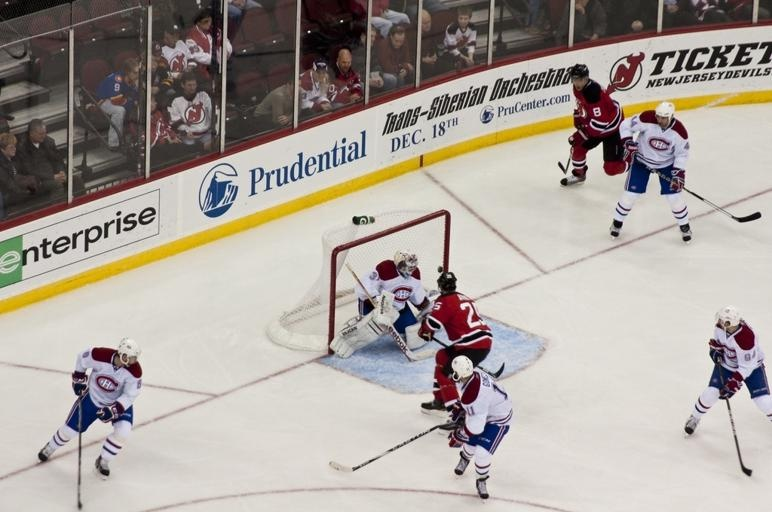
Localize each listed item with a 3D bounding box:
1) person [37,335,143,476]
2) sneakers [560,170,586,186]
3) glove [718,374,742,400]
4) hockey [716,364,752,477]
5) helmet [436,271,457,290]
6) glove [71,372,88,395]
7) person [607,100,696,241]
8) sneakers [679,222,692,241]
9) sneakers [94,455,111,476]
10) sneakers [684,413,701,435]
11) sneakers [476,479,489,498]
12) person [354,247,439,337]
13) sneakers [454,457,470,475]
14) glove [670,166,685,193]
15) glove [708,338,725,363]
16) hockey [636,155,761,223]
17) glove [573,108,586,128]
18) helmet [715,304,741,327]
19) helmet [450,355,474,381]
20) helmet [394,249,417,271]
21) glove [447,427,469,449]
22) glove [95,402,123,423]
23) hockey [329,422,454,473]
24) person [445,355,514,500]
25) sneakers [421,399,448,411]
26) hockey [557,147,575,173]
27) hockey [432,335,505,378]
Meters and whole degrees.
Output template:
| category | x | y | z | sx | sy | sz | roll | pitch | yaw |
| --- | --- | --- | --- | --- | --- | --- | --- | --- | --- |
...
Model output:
| category | x | y | z | sx | sy | sz | roll | pitch | yaw |
| --- | --- | --- | --- | --- | --- | --- | --- | --- | --- |
| person | -3.088 | 1.512 | 13.156 | 0.909 | 1.546 | 0.753 | 17 | 13 | 10 |
| sneakers | 2.613 | -1.098 | 17.399 | 0.467 | 0.199 | 0.150 | -5 | 57 | -5 |
| glove | 3.687 | 1.395 | 13.385 | 0.197 | 0.285 | 0.115 | 37 | 4 | 16 |
| hockey | 3.751 | 1.798 | 13.491 | 0.108 | 1.246 | 0.188 | -10 | -18 | -25 |
| helmet | 0.661 | 0.278 | 13.880 | 0.192 | 0.186 | 0.201 | -1 | 6 | -6 |
| glove | -3.248 | 1.339 | 13.180 | 0.175 | 0.224 | 0.086 | 3 | 6 | 0 |
| person | 3.464 | -1.116 | 16.160 | 1.078 | 1.855 | 1.008 | 1 | 24 | 3 |
| sneakers | 3.897 | -0.303 | 16.247 | 0.105 | 0.266 | 0.122 | -4 | -15 | 17 |
| sneakers | -2.987 | 2.204 | 13.100 | 0.092 | 0.123 | 0.268 | -8 | 16 | -36 |
| sneakers | 3.340 | 1.841 | 13.644 | 0.109 | 0.287 | 0.124 | 16 | -15 | 20 |
| sneakers | 0.983 | 2.409 | 12.921 | 0.086 | 0.236 | 0.171 | -6 | -22 | -2 |
| person | 0.094 | 0.465 | 14.763 | 0.715 | 1.098 | 0.682 | -14 | 46 | -37 |
| sneakers | 0.795 | 2.222 | 13.183 | 0.065 | 0.176 | 0.129 | 23 | -3 | 13 |
| glove | 3.745 | -0.992 | 16.066 | 0.211 | 0.266 | 0.108 | 10 | -26 | 13 |
| glove | 3.574 | 1.030 | 13.428 | 0.095 | 0.217 | 0.170 | 4 | 7 | -26 |
| hockey | 4.170 | -0.869 | 16.831 | 1.773 | 0.195 | 0.235 | 27 | -1 | -12 |
| glove | 2.599 | -1.870 | 16.817 | 0.171 | 0.223 | 0.079 | 0 | 7 | 32 |
| helmet | 3.607 | 0.631 | 13.233 | 0.256 | 0.195 | 0.190 | 16 | 28 | 22 |
| helmet | 0.790 | 1.140 | 12.774 | 0.272 | 0.242 | 0.188 | 19 | 8 | 19 |
| helmet | 0.204 | 0.038 | 14.503 | 0.208 | 0.195 | 0.256 | 9 | -6 | -37 |
| glove | 0.742 | 1.906 | 13.054 | 0.208 | 0.100 | 0.242 | -17 | 9 | -13 |
| glove | -2.903 | 1.622 | 13.030 | 0.342 | 0.245 | 0.079 | 4 | 21 | 24 |
| hockey | 0.053 | 2.080 | 13.410 | 0.878 | 0.173 | 0.171 | -24 | 61 | -14 |
| person | 0.922 | 1.711 | 12.999 | 0.567 | 1.499 | 0.523 | 13 | 26 | 40 |
| sneakers | 0.524 | 1.663 | 13.830 | 0.324 | 0.133 | 0.103 | 4 | 11 | 7 |
| hockey | 2.548 | -1.360 | 17.782 | 0.063 | 0.427 | 0.400 | 23 | 40 | -10 |
| hockey | 0.895 | 1.098 | 14.085 | 0.889 | 0.383 | 0.093 | 35 | 25 | 12 |
